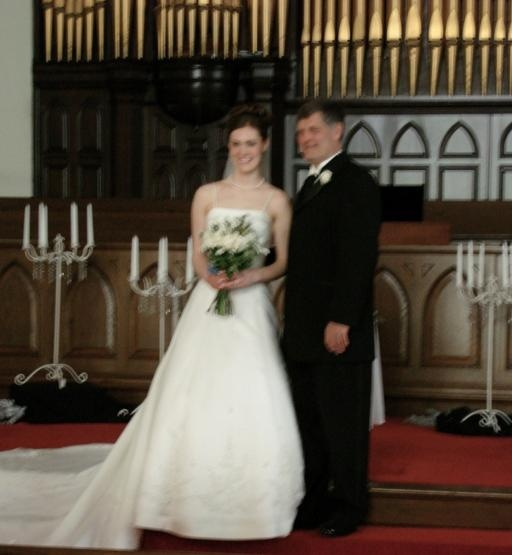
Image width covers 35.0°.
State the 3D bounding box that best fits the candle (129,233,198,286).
[{"bbox_3d":[-0.538,-0.089,4.598,0.329,0.301,0.315,-3,7,-32],"label":"candle"}]

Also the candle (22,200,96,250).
[{"bbox_3d":[-1.235,-0.296,5.053,0.341,0.273,0.065,0,-1,-9],"label":"candle"}]

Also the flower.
[{"bbox_3d":[-0.128,0.002,3.394,0.279,0.359,0.258,26,-30,-36],"label":"flower"}]
